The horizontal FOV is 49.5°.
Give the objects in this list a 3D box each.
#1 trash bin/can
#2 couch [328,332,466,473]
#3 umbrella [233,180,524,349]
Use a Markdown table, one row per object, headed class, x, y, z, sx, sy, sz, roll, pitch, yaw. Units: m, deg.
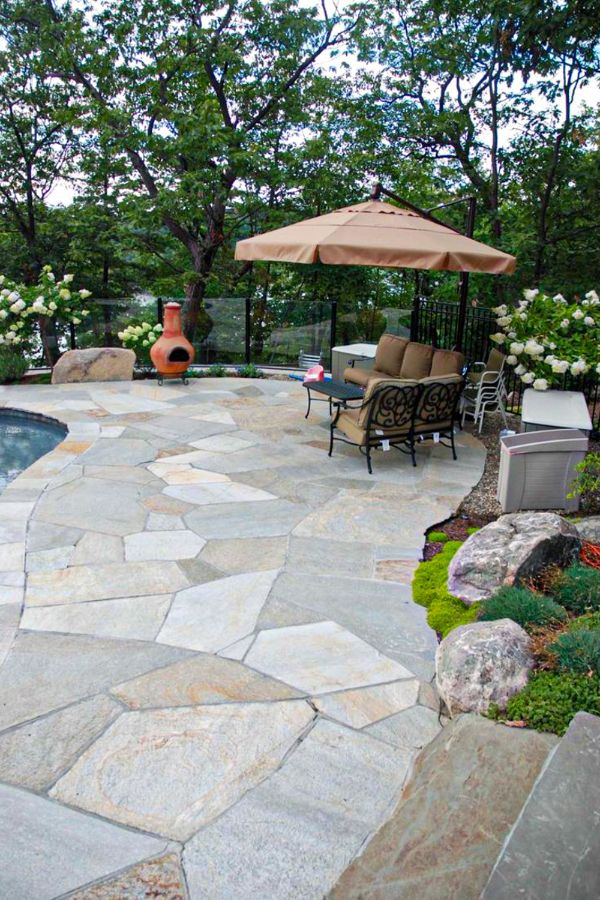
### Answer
| class | x | y | z | sx | sy | sz | roll | pitch | yaw |
| --- | --- | --- | --- | --- | --- | --- | --- | --- | --- |
| trash bin/can | 2.062 | 0.172 | 5.686 | 0.660 | 0.629 | 0.372 | 0 | 16 | 3 |
| couch | 1.201 | -0.722 | 8.194 | 1.525 | 1.556 | 3.672 | 3 | 8 | 7 |
| umbrella | 0.827 | -2.093 | 7.701 | 1.858 | 1.323 | 1.858 | 5 | 26 | 2 |
